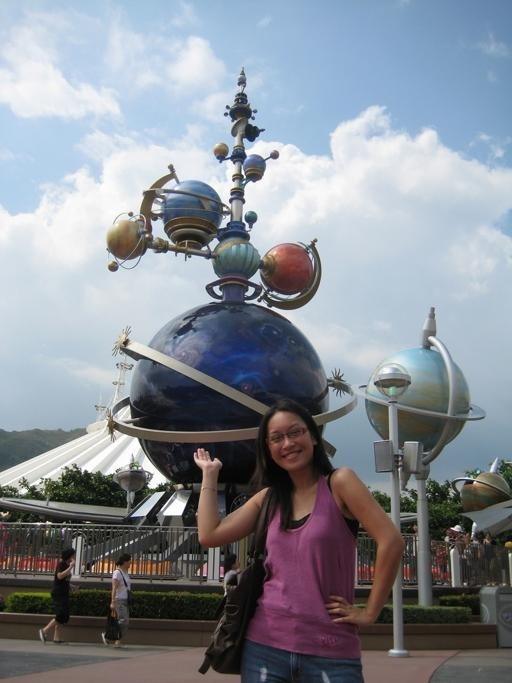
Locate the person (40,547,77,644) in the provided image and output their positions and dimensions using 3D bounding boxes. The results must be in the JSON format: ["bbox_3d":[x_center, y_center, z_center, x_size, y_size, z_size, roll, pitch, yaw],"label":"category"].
[{"bbox_3d":[-3.289,4.220,10.813,0.439,1.572,1.210,3,-10,-15],"label":"person"}]

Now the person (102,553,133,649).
[{"bbox_3d":[-2.205,4.160,10.408,0.390,1.516,1.154,3,-10,-11],"label":"person"}]

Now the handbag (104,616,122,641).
[{"bbox_3d":[-2.229,4.455,10.223,0.255,0.424,0.434,3,-10,-14],"label":"handbag"}]
